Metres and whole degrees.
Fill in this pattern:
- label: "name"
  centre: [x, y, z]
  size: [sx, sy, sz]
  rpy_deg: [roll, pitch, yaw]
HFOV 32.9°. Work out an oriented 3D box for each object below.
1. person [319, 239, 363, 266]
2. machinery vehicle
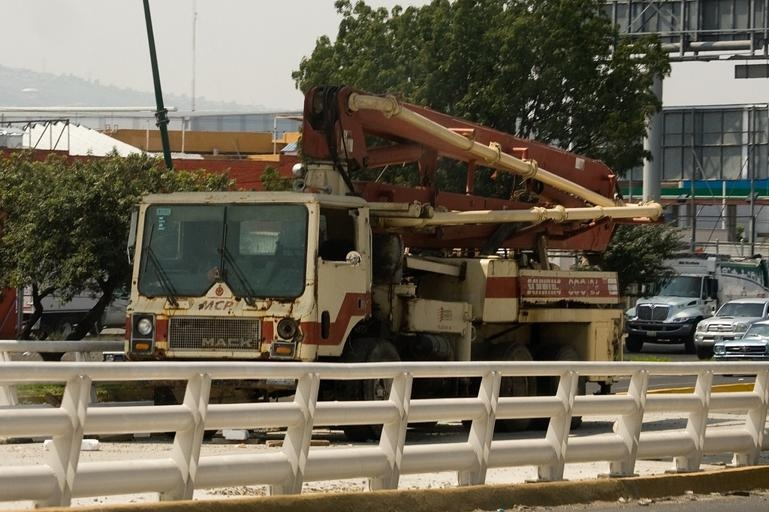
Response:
- label: "person"
  centre: [-0.756, -0.066, 22.721]
  size: [0.745, 0.357, 0.573]
  rpy_deg: [6, 6, -11]
- label: "machinery vehicle"
  centre: [1.005, 0.090, 26.681]
  size: [4.747, 6.070, 12.584]
  rpy_deg: [0, -3, 37]
